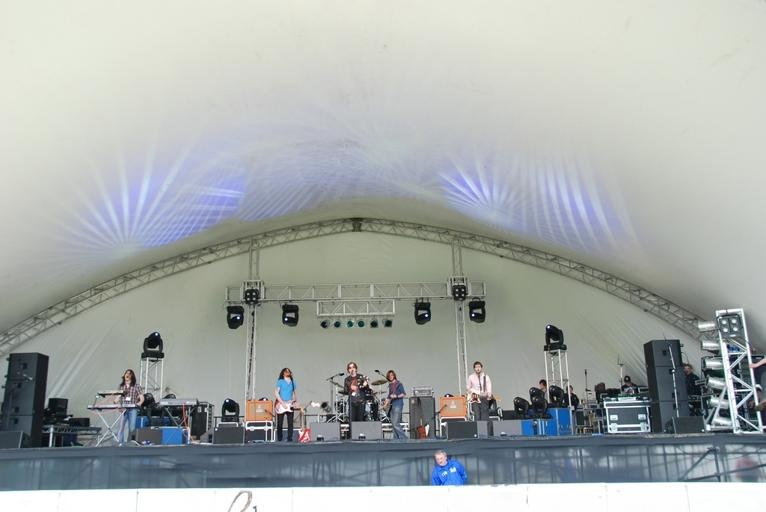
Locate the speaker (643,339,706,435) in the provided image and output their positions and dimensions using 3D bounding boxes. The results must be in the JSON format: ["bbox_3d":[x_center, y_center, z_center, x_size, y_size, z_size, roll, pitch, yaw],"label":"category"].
[{"bbox_3d":[7.315,3.343,14.326,0.921,2.774,1.438,3,-19,5],"label":"speaker"}]

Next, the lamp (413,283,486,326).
[{"bbox_3d":[2.409,1.623,20.214,2.595,1.640,0.593,0,-6,-5],"label":"lamp"}]

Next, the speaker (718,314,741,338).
[{"bbox_3d":[8.614,1.724,14.157,0.540,0.539,0.163,-1,-7,25],"label":"speaker"}]

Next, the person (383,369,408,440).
[{"bbox_3d":[0.287,3.591,13.740,0.496,1.630,1.233,2,-11,1],"label":"person"}]

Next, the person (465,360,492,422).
[{"bbox_3d":[2.340,3.405,13.705,0.556,1.648,0.524,-6,5,1],"label":"person"}]

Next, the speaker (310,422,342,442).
[{"bbox_3d":[-1.298,3.880,12.608,0.593,0.564,0.430,1,-2,-1],"label":"speaker"}]

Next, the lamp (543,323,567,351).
[{"bbox_3d":[4.690,2.223,15.635,0.508,0.700,0.824,-1,-11,16],"label":"lamp"}]

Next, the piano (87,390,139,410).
[{"bbox_3d":[-6.214,3.259,12.847,1.345,0.508,0.831,-7,-14,41],"label":"piano"}]

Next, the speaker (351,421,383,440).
[{"bbox_3d":[-0.366,3.812,12.632,0.684,0.453,0.367,-3,-2,1],"label":"speaker"}]

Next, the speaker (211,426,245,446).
[{"bbox_3d":[-3.230,3.674,12.051,0.619,0.335,0.395,3,10,-6],"label":"speaker"}]

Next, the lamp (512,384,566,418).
[{"bbox_3d":[4.168,3.818,14.761,0.982,0.599,0.973,4,-15,-22],"label":"lamp"}]

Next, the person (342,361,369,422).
[{"bbox_3d":[-0.658,3.214,13.529,0.574,1.312,1.289,2,-11,-3],"label":"person"}]

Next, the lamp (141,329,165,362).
[{"bbox_3d":[-6.429,2.499,15.853,0.439,0.752,0.753,3,-11,-7],"label":"lamp"}]

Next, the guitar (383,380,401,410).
[{"bbox_3d":[0.293,3.321,13.542,0.356,0.680,0.161,-4,-20,30],"label":"guitar"}]

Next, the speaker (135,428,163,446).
[{"bbox_3d":[-5.194,3.948,12.539,0.555,0.327,0.334,5,-11,-18],"label":"speaker"}]
